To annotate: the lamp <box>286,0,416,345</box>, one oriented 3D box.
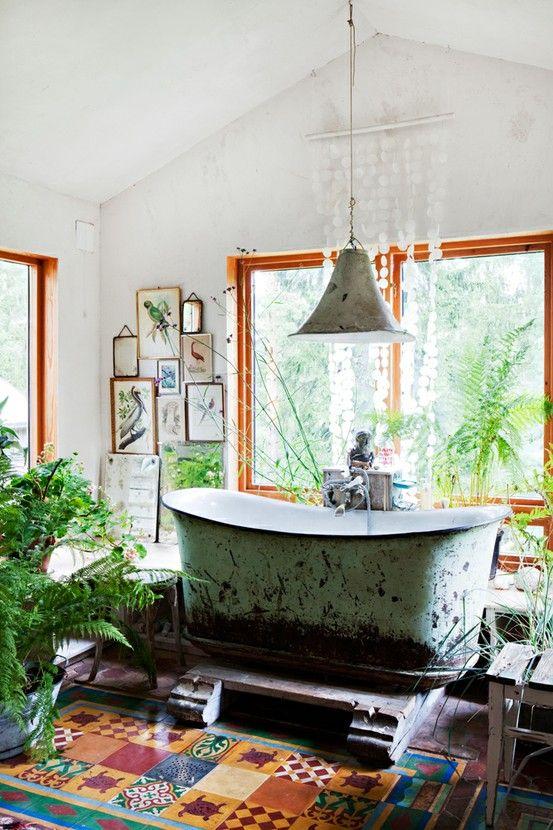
[{"bbox_3d":[0.302,-1.025,2.836,0.416,1.553,1.235,0,-1,4],"label":"lamp"}]
